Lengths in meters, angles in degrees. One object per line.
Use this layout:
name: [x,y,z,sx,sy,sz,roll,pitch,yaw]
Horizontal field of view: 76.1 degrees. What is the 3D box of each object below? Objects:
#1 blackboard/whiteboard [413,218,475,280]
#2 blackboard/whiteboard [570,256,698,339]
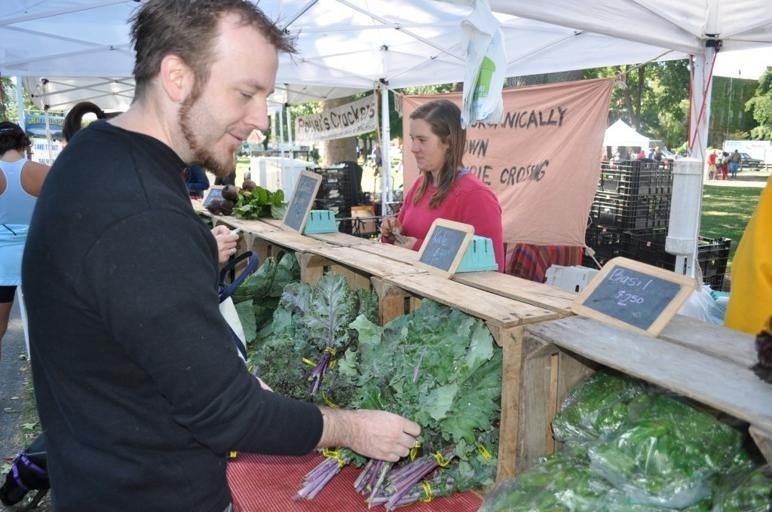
blackboard/whiteboard: [0.362,-0.031,2.963,0.035,0.440,0.445,29,-18,-32]
blackboard/whiteboard: [1.087,0.150,2.208,0.493,0.550,0.108,-2,44,25]
